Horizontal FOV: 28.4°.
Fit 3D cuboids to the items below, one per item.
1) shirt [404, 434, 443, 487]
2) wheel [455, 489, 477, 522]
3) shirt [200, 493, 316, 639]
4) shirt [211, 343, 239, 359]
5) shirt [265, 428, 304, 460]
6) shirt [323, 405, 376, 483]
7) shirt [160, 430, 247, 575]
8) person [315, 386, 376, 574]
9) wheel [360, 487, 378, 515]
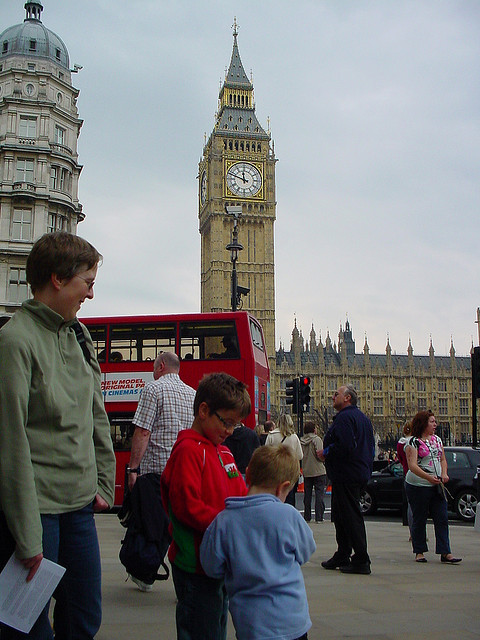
[{"bbox_3d":[1.692,1.258,8.566,0.325,0.498,0.256,-1,-12,-14],"label":"shirt"},{"bbox_3d":[3.572,2.901,14.808,0.176,0.494,0.427,4,-6,-33],"label":"wheel"},{"bbox_3d":[0.072,0.999,3.833,0.469,0.585,0.179,1,-5,-3],"label":"shirt"},{"bbox_3d":[-0.215,0.511,15.476,0.308,0.239,0.218,-1,-7,2],"label":"shirt"},{"bbox_3d":[0.565,1.558,12.040,0.434,0.353,0.918,1,-6,1],"label":"shirt"},{"bbox_3d":[0.934,1.055,8.089,0.336,0.708,0.623,-6,-9,26],"label":"shirt"},{"bbox_3d":[-0.079,0.816,4.316,0.454,0.710,0.500,-6,-10,17],"label":"shirt"},{"bbox_3d":[0.904,1.322,7.955,0.436,1.534,0.709,0,-5,8],"label":"person"},{"bbox_3d":[2.238,3.119,16.262,0.267,0.485,0.482,0,-5,8],"label":"wheel"}]
